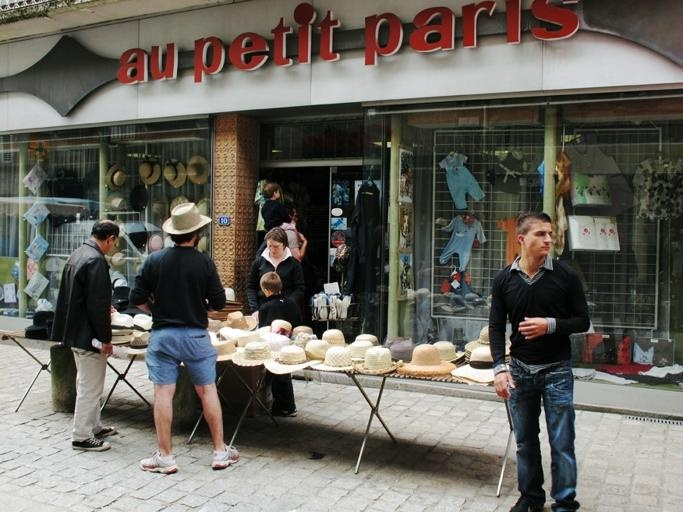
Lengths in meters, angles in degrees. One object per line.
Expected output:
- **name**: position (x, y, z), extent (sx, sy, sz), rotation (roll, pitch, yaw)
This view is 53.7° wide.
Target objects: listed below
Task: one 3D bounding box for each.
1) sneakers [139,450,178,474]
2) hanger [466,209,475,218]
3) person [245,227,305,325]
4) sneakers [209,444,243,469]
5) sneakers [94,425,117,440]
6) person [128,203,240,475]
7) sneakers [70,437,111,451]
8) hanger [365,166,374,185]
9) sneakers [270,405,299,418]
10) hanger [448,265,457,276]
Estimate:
- **sneakers**: position (-1.813, 2.044, 6.723), extent (0.392, 0.204, 0.169), rotation (3, -1, 20)
- **hanger**: position (1.733, -0.590, 9.210), extent (0.132, 0.095, 0.033), rotation (-1, -3, 38)
- **person**: position (-0.891, 0.648, 8.766), extent (0.710, 1.955, 0.628), rotation (1, 12, 4)
- **sneakers**: position (-1.184, 2.018, 6.829), extent (0.127, 0.154, 0.323), rotation (2, 6, 21)
- **sneakers**: position (-2.639, 1.951, 7.492), extent (0.251, 0.105, 0.090), rotation (-7, 16, -39)
- **person**: position (-1.611, 0.794, 6.754), extent (0.947, 2.599, 0.687), rotation (-2, 8, -17)
- **sneakers**: position (-2.673, 1.996, 7.127), extent (0.396, 0.165, 0.155), rotation (1, 3, -3)
- **hanger**: position (0.380, -1.156, 9.615), extent (0.162, 0.285, 0.029), rotation (3, 8, 22)
- **sneakers**: position (-0.704, 1.859, 8.072), extent (0.273, 0.122, 0.122), rotation (-2, 3, 2)
- **hanger**: position (1.545, 0.191, 9.376), extent (0.126, 0.136, 0.078), rotation (-8, 4, 12)
